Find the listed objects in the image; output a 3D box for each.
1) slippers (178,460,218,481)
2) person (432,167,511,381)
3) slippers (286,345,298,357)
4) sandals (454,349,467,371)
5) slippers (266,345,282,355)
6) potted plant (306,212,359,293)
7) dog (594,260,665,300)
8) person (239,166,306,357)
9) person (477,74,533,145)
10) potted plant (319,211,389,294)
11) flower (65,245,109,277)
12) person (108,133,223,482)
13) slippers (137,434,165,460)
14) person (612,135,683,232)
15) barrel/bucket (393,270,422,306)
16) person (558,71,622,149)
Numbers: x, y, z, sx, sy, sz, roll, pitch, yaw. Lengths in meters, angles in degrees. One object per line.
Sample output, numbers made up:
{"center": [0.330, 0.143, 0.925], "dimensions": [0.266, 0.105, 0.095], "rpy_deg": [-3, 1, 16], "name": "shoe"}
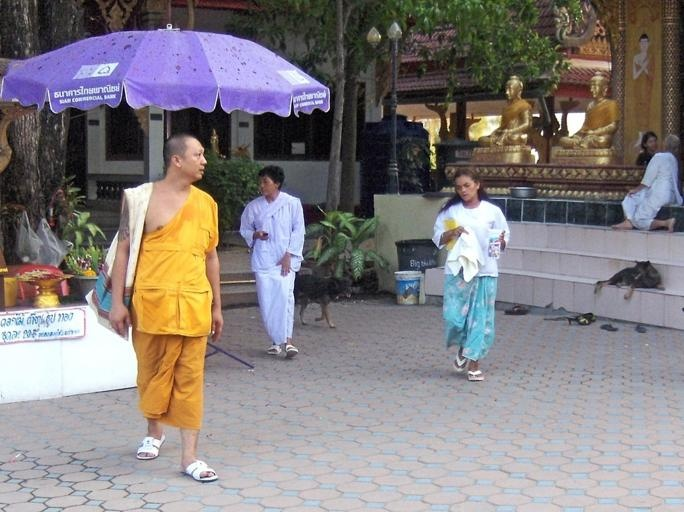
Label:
{"center": [-0.947, 1.437, 5.461], "dimensions": [0.113, 0.084, 0.227], "rpy_deg": [-8, 8, -36], "name": "slippers"}
{"center": [1.239, 0.173, 7.834], "dimensions": [0.702, 2.011, 0.441], "rpy_deg": [1, 7, 9], "name": "person"}
{"center": [-0.539, 1.010, 8.659], "dimensions": [0.126, 0.157, 0.210], "rpy_deg": [0, 7, -3], "name": "slippers"}
{"center": [1.155, 1.013, 7.931], "dimensions": [0.092, 0.104, 0.252], "rpy_deg": [2, 21, 5], "name": "sandals"}
{"center": [-0.734, 1.020, 8.848], "dimensions": [0.083, 0.083, 0.184], "rpy_deg": [1, 6, -7], "name": "slippers"}
{"center": [0.085, -0.135, 12.827], "dimensions": [1.117, 1.390, 1.096], "rpy_deg": [1, -1, -19], "name": "potted plant"}
{"center": [3.764, 0.297, 10.675], "dimensions": [0.382, 0.352, 0.657], "rpy_deg": [-11, 8, -31], "name": "dog"}
{"center": [-0.748, 0.060, 8.700], "dimensions": [0.649, 2.045, 0.449], "rpy_deg": [1, 7, 8], "name": "person"}
{"center": [3.148, -2.746, 15.316], "dimensions": [0.821, 1.323, 0.721], "rpy_deg": [3, 8, 27], "name": "person"}
{"center": [0.055, -0.146, 12.923], "dimensions": [1.114, 1.016, 1.137], "rpy_deg": [2, 4, 33], "name": "potted plant"}
{"center": [-2.660, 0.054, 8.426], "dimensions": [0.305, 0.211, 0.316], "rpy_deg": [-3, 0, 18], "name": "flower"}
{"center": [-1.183, 0.345, 5.468], "dimensions": [0.721, 2.310, 0.485], "rpy_deg": [-2, 7, -13], "name": "person"}
{"center": [-1.381, 1.369, 5.846], "dimensions": [0.101, 0.099, 0.268], "rpy_deg": [1, 2, 0], "name": "slippers"}
{"center": [4.357, -0.921, 11.345], "dimensions": [0.781, 1.079, 0.819], "rpy_deg": [5, 9, 37], "name": "person"}
{"center": [1.033, 0.458, 12.325], "dimensions": [0.476, 0.521, 0.485], "rpy_deg": [-2, 11, 0], "name": "barrel/bucket"}
{"center": [4.446, -2.564, 14.362], "dimensions": [0.849, 1.288, 0.559], "rpy_deg": [-2, 7, -19], "name": "person"}
